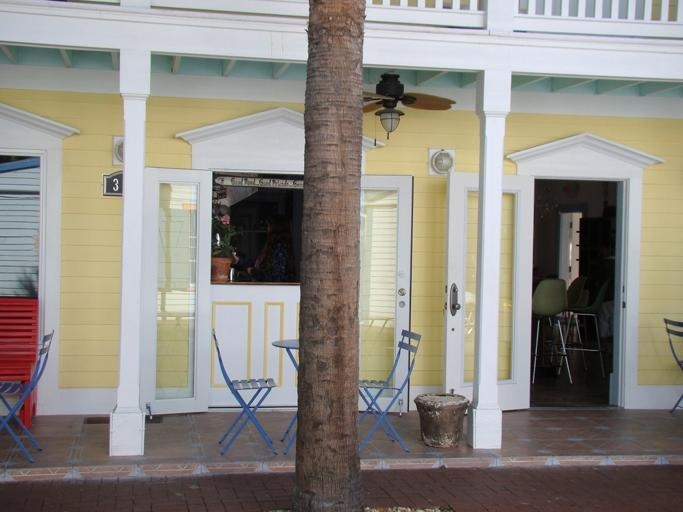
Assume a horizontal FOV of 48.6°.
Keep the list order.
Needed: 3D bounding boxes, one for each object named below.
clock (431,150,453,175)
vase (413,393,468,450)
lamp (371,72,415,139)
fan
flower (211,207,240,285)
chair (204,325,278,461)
[{"bbox_3d":[1.235,-1.160,9.360,0.297,0.314,0.074,11,-2,-18],"label":"clock"},{"bbox_3d":[1.034,1.726,7.787,0.549,0.476,0.272,0,1,7],"label":"vase"},{"bbox_3d":[0.534,-1.641,8.324,0.884,0.688,0.862,-2,8,-9],"label":"lamp"},{"bbox_3d":[0.699,-1.725,8.287,0.819,0.521,0.678,4,0,16],"label":"fan"},{"bbox_3d":[-1.444,-0.143,9.418,0.312,0.947,0.735,0,1,-6],"label":"flower"},{"bbox_3d":[-0.973,1.389,7.855,0.752,1.287,0.834,1,-3,-14],"label":"chair"}]
